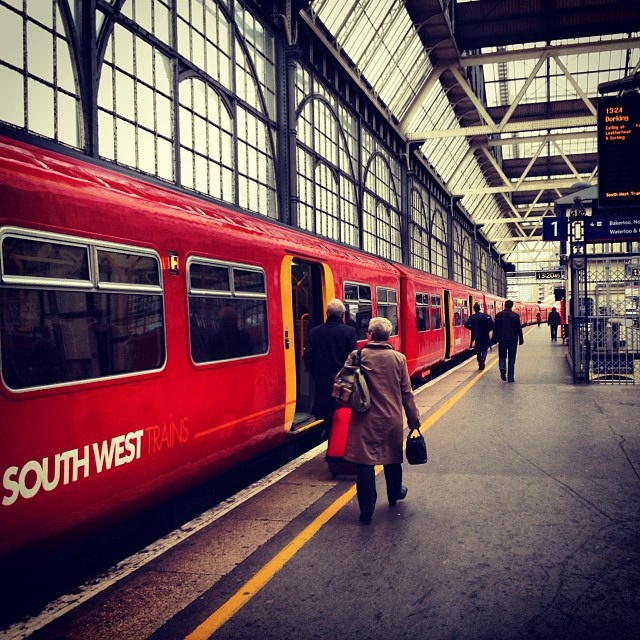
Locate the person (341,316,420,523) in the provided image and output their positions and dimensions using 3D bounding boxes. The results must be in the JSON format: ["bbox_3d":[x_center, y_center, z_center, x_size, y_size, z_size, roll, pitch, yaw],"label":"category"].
[{"bbox_3d":[0.526,0.791,5.354,0.568,1.787,0.563,-9,18,-27],"label":"person"}]

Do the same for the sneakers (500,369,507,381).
[{"bbox_3d":[4.097,1.326,13.762,0.096,0.389,0.145,-5,32,10],"label":"sneakers"}]

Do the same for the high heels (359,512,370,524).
[{"bbox_3d":[0.367,1.646,5.084,0.105,0.085,0.077,1,5,7],"label":"high heels"}]

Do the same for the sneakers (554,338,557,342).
[{"bbox_3d":[11.631,1.004,30.555,0.124,0.166,0.246,2,0,17],"label":"sneakers"}]

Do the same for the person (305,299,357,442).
[{"bbox_3d":[0.073,0.614,6.866,0.518,2.138,0.608,-3,31,-9],"label":"person"}]

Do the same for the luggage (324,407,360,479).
[{"bbox_3d":[0.238,1.191,6.112,0.295,0.623,0.304,4,-13,5],"label":"luggage"}]
